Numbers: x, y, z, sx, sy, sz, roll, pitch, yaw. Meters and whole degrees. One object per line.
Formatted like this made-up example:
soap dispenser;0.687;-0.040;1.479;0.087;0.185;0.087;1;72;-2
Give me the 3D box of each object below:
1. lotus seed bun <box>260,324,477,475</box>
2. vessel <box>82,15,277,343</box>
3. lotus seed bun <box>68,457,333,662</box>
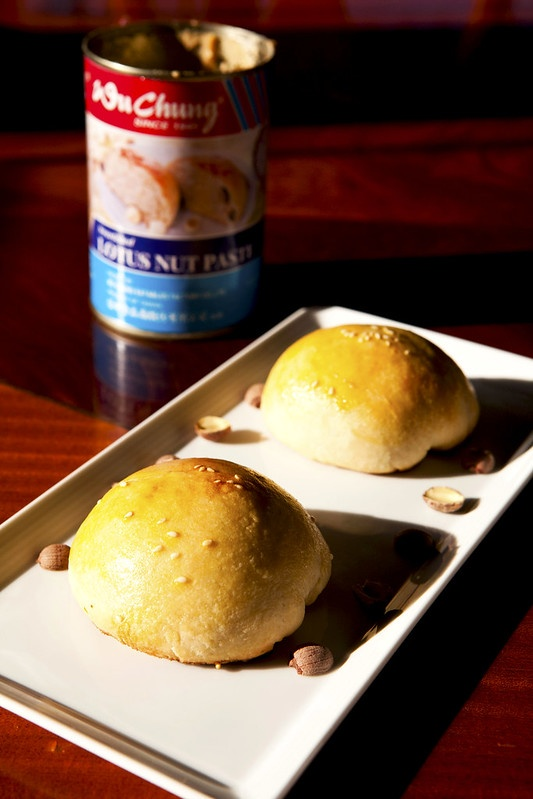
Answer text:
lotus seed bun;0.100;-0.027;0.759;0.216;0.072;0.209;6;35;6
vessel;-0.105;-0.234;0.865;0.183;0.308;0.214;-10;36;-25
lotus seed bun;-0.057;0.080;0.570;0.221;0.064;0.230;3;17;-12
